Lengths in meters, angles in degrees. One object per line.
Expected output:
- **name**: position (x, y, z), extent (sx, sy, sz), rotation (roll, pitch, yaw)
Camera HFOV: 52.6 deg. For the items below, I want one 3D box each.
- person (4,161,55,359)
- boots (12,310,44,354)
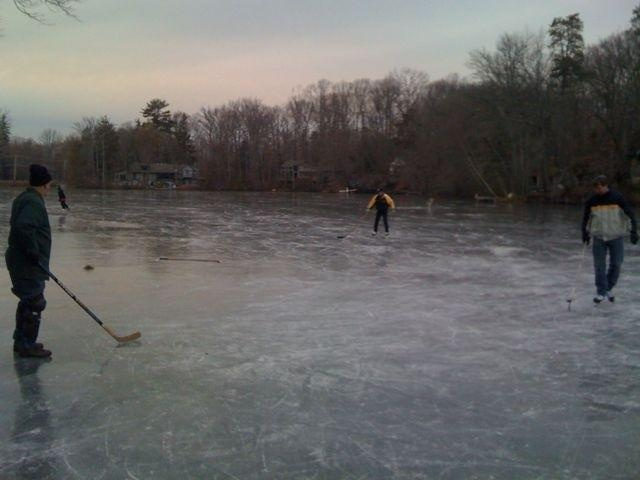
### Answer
- **person**: position (-3.903, 0.290, 8.611), extent (0.704, 2.328, 0.887), rotation (-4, 13, -36)
- **boots**: position (-3.880, 1.229, 8.579), extent (0.462, 0.653, 0.399), rotation (-7, 19, -37)
